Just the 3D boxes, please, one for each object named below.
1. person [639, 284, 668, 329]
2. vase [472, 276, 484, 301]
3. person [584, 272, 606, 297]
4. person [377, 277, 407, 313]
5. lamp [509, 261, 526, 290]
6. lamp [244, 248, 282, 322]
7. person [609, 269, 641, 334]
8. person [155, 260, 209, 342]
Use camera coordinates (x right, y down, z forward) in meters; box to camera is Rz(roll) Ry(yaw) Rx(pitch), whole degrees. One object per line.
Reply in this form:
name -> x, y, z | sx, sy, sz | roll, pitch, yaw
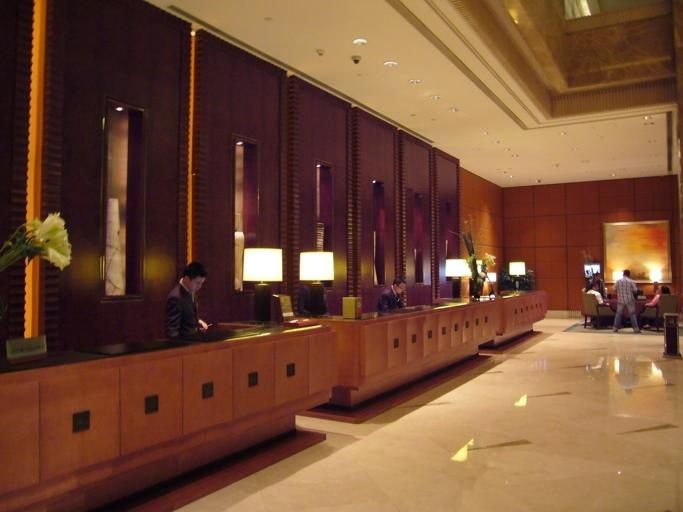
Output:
person -> 7.831, 1.288, 13.620 | 0.505, 0.926, 0.563 | -3, 27, 25
vase -> 2.497, 0.590, 9.822 | 0.196, 0.409, 0.893 | 1, 5, 14
person -> 7.636, 0.864, 16.037 | 0.439, 0.876, 0.443 | 9, -14, -29
person -> 0.715, 0.564, 7.762 | 0.379, 0.467, 0.727 | 1, 4, 9
lamp -> 5.569, 0.625, 16.931 | 0.475, 0.923, 1.340 | 2, 5, 20
lamp -> -0.860, 0.309, 5.772 | 0.397, 0.801, 0.414 | 0, 4, -12
person -> 7.141, 1.070, 13.339 | 0.572, 1.534, 1.277 | 2, 5, 30
person -> -1.545, 0.417, 5.310 | 0.392, 0.725, 1.616 | -1, 5, -15
